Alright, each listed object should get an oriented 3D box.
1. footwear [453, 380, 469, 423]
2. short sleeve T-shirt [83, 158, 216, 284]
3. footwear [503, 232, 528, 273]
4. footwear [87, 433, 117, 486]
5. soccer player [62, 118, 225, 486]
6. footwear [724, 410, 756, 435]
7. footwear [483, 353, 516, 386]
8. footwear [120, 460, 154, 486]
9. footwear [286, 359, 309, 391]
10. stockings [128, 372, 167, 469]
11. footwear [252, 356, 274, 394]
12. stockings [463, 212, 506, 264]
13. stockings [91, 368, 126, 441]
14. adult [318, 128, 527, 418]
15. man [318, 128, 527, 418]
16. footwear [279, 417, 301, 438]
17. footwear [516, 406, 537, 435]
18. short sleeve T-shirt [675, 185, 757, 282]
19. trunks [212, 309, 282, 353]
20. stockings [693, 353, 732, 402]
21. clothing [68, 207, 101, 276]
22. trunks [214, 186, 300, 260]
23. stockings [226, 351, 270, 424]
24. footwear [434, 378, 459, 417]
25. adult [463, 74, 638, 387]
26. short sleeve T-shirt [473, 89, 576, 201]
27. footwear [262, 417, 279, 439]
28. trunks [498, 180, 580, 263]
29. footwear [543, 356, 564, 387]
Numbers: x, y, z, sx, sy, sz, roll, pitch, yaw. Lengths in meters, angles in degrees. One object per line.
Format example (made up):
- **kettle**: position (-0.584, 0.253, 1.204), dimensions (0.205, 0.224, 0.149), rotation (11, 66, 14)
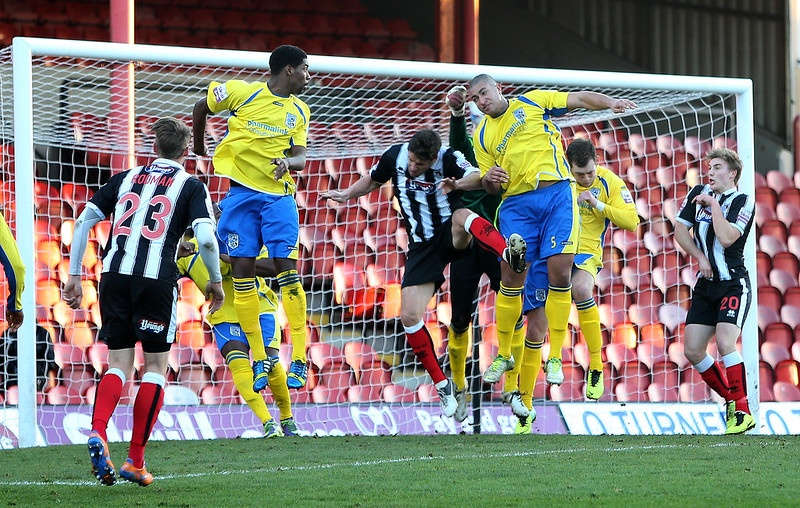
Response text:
- **footwear**: position (0.624, 1.497, 9.982), dimensions (0.126, 0.402, 0.168), rotation (-2, 5, 27)
- **short sleeve T-shirt**: position (-2.060, -0.255, 8.221), dimensions (1.182, 1.036, 0.435), rotation (9, -9, 5)
- **footwear**: position (1.081, -0.013, 9.165), dimensions (0.173, 0.390, 0.169), rotation (-15, 17, -28)
- **footwear**: position (-2.348, 1.611, 7.817), dimensions (0.166, 0.475, 0.227), rotation (-11, 0, -6)
- **soccer player**: position (-2.122, 0.327, 8.111), dimensions (1.203, 3.037, 0.839), rotation (5, -9, -15)
- **footwear**: position (3.398, 1.688, 9.850), dimensions (0.282, 0.219, 0.240), rotation (-4, -3, 18)
- **footwear**: position (0.969, 1.174, 9.928), dimensions (0.166, 0.219, 0.463), rotation (24, 49, 23)
- **footwear**: position (-2.128, 1.766, 7.948), dimensions (0.251, 0.230, 0.232), rotation (-2, -3, -15)
- **footwear**: position (-1.024, 1.194, 9.854), dimensions (0.130, 0.372, 0.169), rotation (13, -37, -11)
- **stockings**: position (-2.058, 1.344, 7.992), dimensions (0.291, 0.737, 0.218), rotation (-2, -3, -15)
- **footwear**: position (-1.350, 1.173, 9.699), dimensions (0.158, 0.382, 0.138), rotation (13, -49, -1)
- **stockings**: position (0.828, -0.170, 9.290), dimensions (0.189, 0.621, 0.177), rotation (-34, -40, -15)
- **stockings**: position (-2.349, 1.214, 7.933), dimensions (0.254, 0.553, 0.245), rotation (-2, -3, -18)
- **adult**: position (0.344, 0.185, 9.498), dimensions (1.721, 2.765, 0.513), rotation (-3, -3, 17)
- **man**: position (0.349, 0.185, 9.499), dimensions (1.727, 2.765, 0.518), rotation (-3, -3, 17)
- **footwear**: position (-1.133, 1.784, 10.147), dimensions (0.100, 0.270, 0.122), rotation (-26, -34, -23)
- **footwear**: position (1.300, 1.752, 10.164), dimensions (0.130, 0.401, 0.172), rotation (6, -43, 17)
- **short sleeve T-shirt**: position (3.215, -0.225, 9.997), dimensions (0.759, 1.000, 0.336), rotation (-3, -3, 16)
- **trunks**: position (-1.561, 0.789, 10.100), dimensions (0.660, 0.505, 0.396), rotation (-7, -28, -19)
- **stockings**: position (3.283, 1.263, 10.233), dimensions (0.185, 0.185, 0.597), rotation (-34, -45, 18)
- **clothing**: position (-2.629, -0.122, 8.242), dimensions (0.257, 0.593, 0.192), rotation (7, -5, 20)
- **trunks**: position (-1.416, -0.340, 9.870), dimensions (0.808, 0.832, 0.492), rotation (-1, -5, -4)
- **stockings**: position (-1.566, 1.401, 10.271), dimensions (0.259, 0.849, 0.375), rotation (-24, 3, -10)
- **footwear**: position (0.455, 1.427, 9.670), dimensions (0.194, 0.469, 0.152), rotation (-2, -19, -44)
- **adult**: position (1.535, -0.281, 9.553), dimensions (1.546, 3.017, 1.121), rotation (-3, -7, 9)
- **short sleeve T-shirt**: position (1.210, -1.052, 9.644), dimensions (0.874, 0.736, 0.514), rotation (-31, -14, 11)
- **footwear**: position (-1.276, 1.750, 9.893), dimensions (0.173, 0.169, 0.394), rotation (-2, -3, -8)
- **trunks**: position (1.357, -0.325, 9.536), dimensions (0.611, 0.608, 0.365), rotation (-11, -24, 29)
- **footwear**: position (1.571, 1.133, 10.000), dimensions (0.157, 0.154, 0.352), rotation (1, 29, 1)
